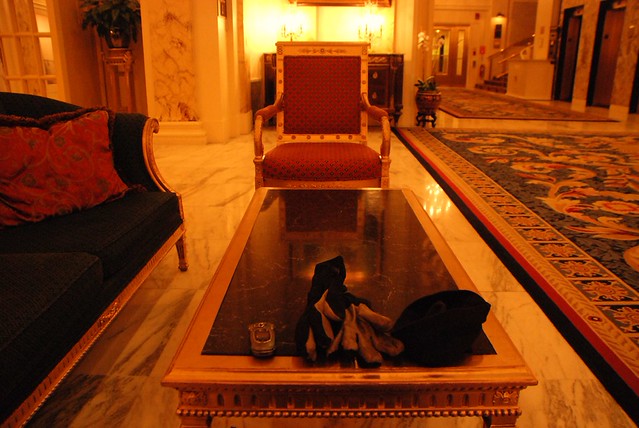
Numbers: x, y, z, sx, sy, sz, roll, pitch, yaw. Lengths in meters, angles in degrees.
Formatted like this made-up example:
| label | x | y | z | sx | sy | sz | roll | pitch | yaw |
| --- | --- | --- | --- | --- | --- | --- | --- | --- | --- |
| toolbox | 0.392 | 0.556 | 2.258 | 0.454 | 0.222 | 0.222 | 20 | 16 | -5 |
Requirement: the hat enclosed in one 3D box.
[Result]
| label | x | y | z | sx | sy | sz | roll | pitch | yaw |
| --- | --- | --- | --- | --- | --- | --- | --- | --- | --- |
| hat | 0.434 | 0.407 | 1.565 | 0.246 | 0.137 | 0.322 | 0 | 27 | 18 |

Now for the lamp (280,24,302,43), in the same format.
| label | x | y | z | sx | sy | sz | roll | pitch | yaw |
| --- | --- | --- | --- | --- | --- | --- | --- | --- | --- |
| lamp | -0.516 | -3.370 | 8.223 | 0.413 | 0.277 | 0.193 | -2 | 20 | -5 |

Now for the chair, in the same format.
| label | x | y | z | sx | sy | sz | roll | pitch | yaw |
| --- | --- | --- | --- | --- | --- | --- | --- | --- | --- |
| chair | 0.016 | -0.880 | 3.713 | 1.054 | 1.093 | 1.171 | -1 | 20 | 0 |

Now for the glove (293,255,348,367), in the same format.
| label | x | y | z | sx | sy | sz | roll | pitch | yaw |
| --- | --- | --- | --- | --- | --- | --- | --- | --- | --- |
| glove | 0.006 | 0.375 | 1.662 | 0.195 | 0.248 | 0.514 | 7 | 41 | 1 |

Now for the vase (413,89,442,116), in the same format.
| label | x | y | z | sx | sy | sz | roll | pitch | yaw |
| --- | --- | --- | --- | --- | --- | --- | --- | --- | --- |
| vase | 1.932 | -2.004 | 7.923 | 0.437 | 0.363 | 0.441 | -5 | 30 | -6 |

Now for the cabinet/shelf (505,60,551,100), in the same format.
| label | x | y | z | sx | sy | sz | roll | pitch | yaw |
| --- | --- | --- | --- | --- | --- | --- | --- | --- | --- |
| cabinet/shelf | 6.291 | -3.992 | 13.204 | 0.772 | 0.906 | 1.366 | -7 | 27 | -8 |

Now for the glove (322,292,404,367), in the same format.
| label | x | y | z | sx | sy | sz | roll | pitch | yaw |
| --- | --- | --- | --- | --- | --- | --- | --- | --- | --- |
| glove | 0.144 | 0.406 | 1.616 | 0.345 | 0.140 | 0.253 | 17 | 13 | 24 |
